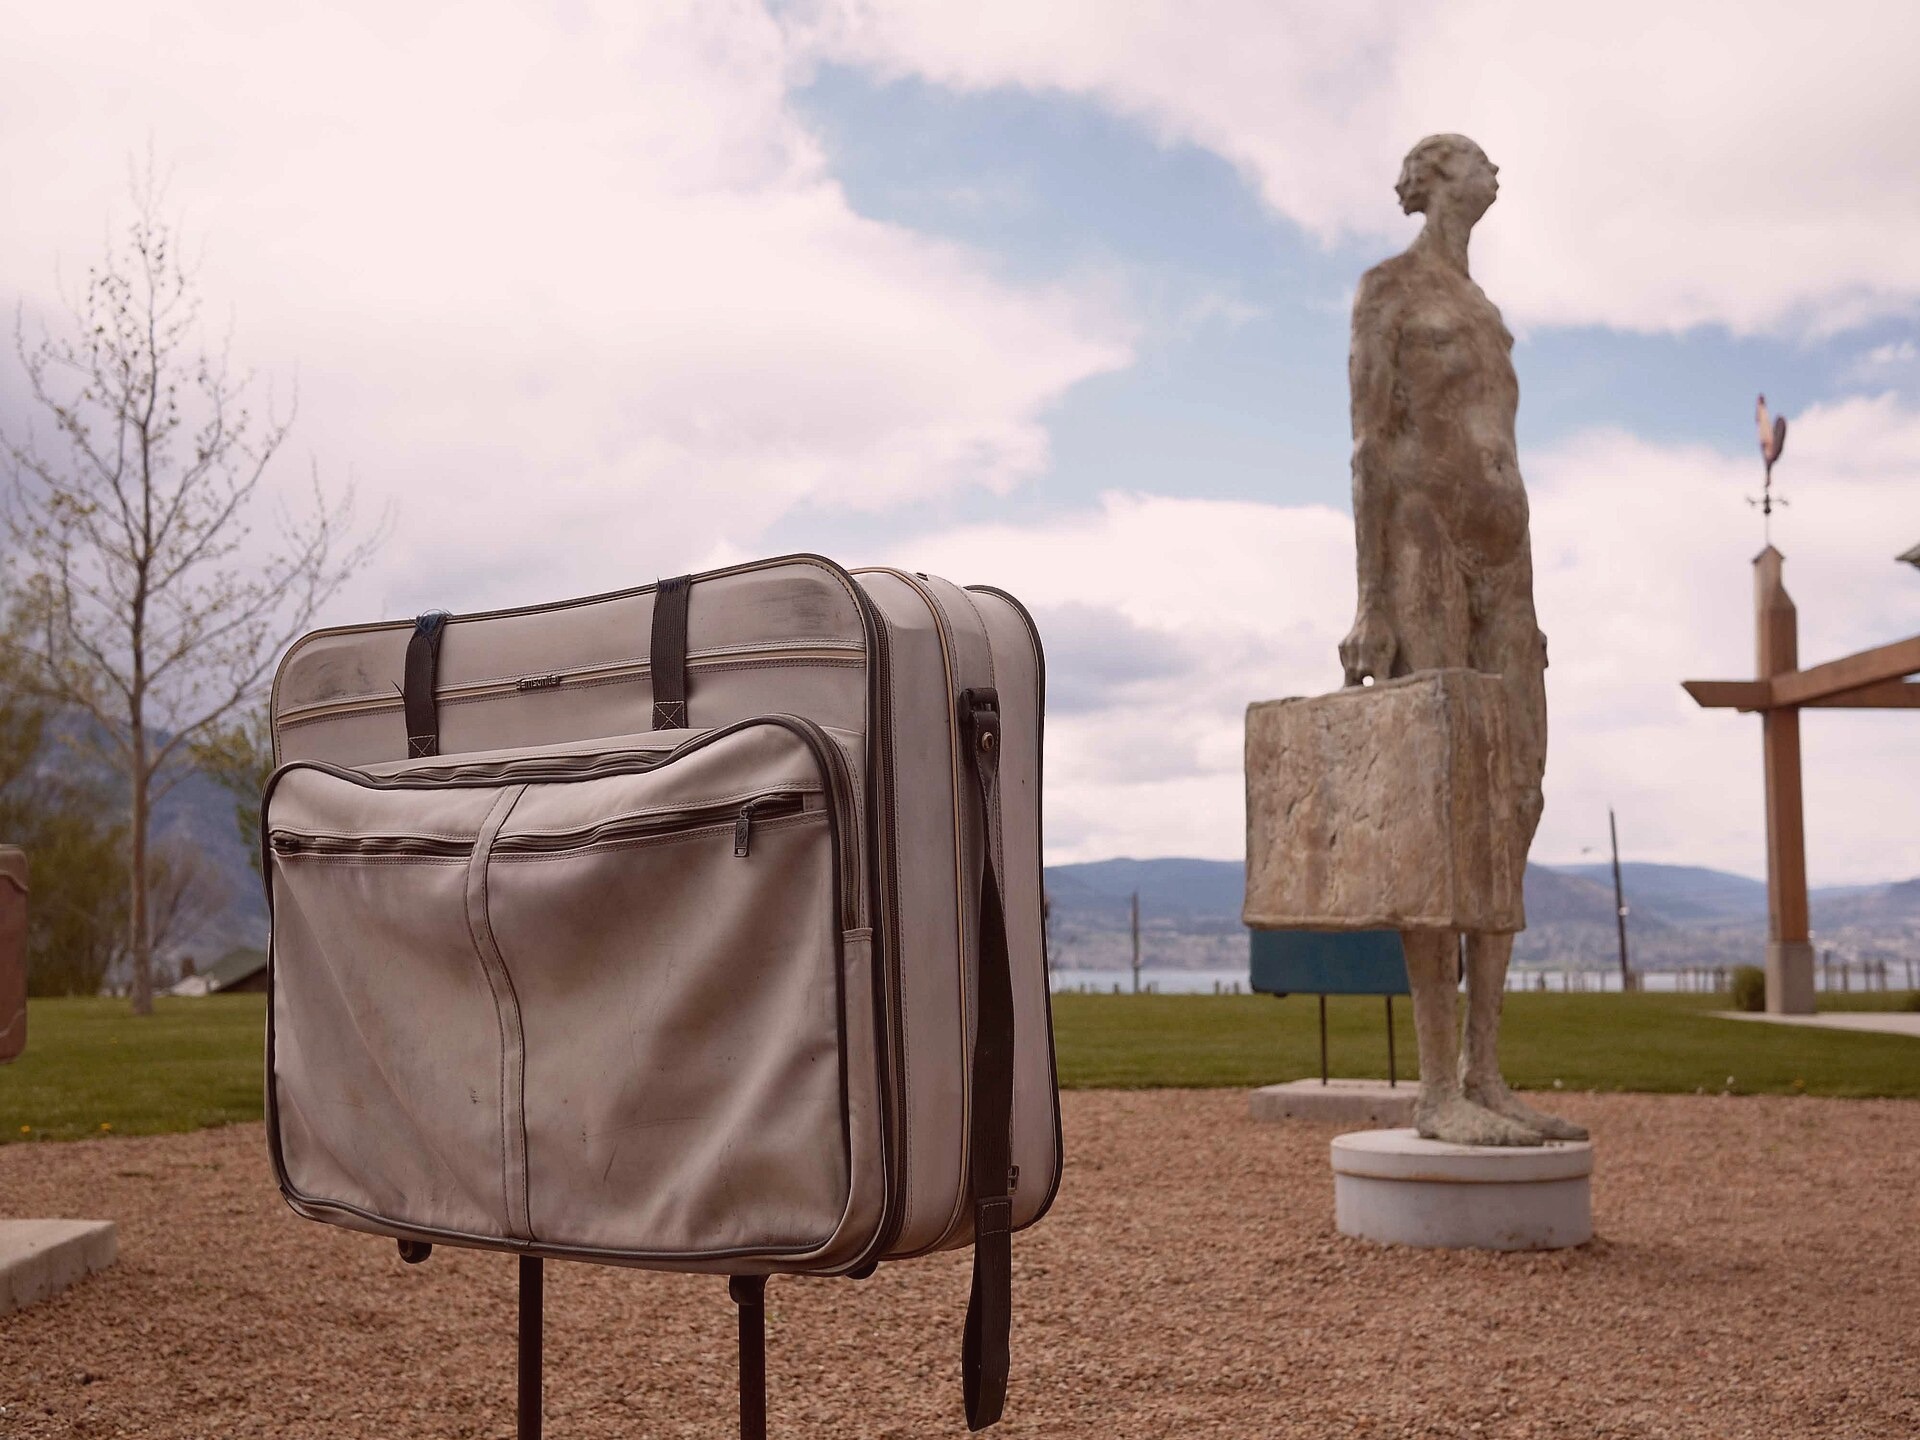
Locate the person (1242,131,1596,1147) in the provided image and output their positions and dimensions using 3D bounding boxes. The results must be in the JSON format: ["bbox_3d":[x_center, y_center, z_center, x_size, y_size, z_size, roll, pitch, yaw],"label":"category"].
[{"bbox_3d":[1.628,-0.417,7.685,1.052,3.717,1.399,5,-3,16],"label":"person"}]
